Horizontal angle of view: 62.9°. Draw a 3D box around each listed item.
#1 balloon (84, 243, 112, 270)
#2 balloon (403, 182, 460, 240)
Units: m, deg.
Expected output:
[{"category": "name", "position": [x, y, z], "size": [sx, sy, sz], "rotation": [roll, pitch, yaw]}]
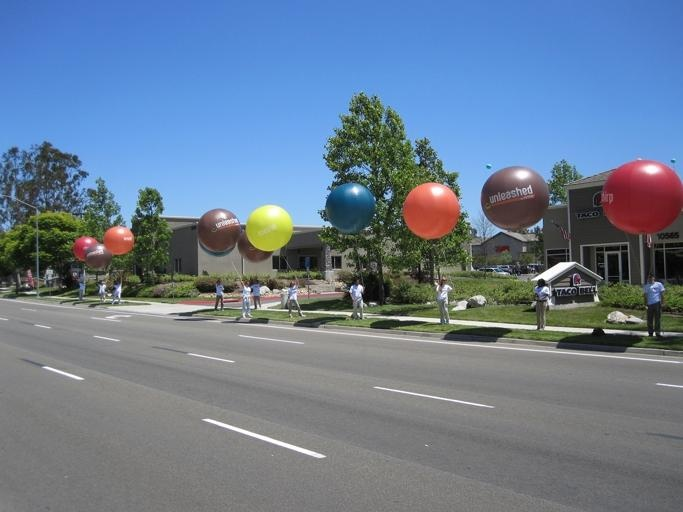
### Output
[{"category": "balloon", "position": [-15.463, 0.085, 35.827], "size": [1.422, 1.888, 1.439], "rotation": [8, -3, -37]}, {"category": "balloon", "position": [3.019, -1.576, 18.677], "size": [1.737, 1.783, 0.867], "rotation": [-1, 1, 12]}]
